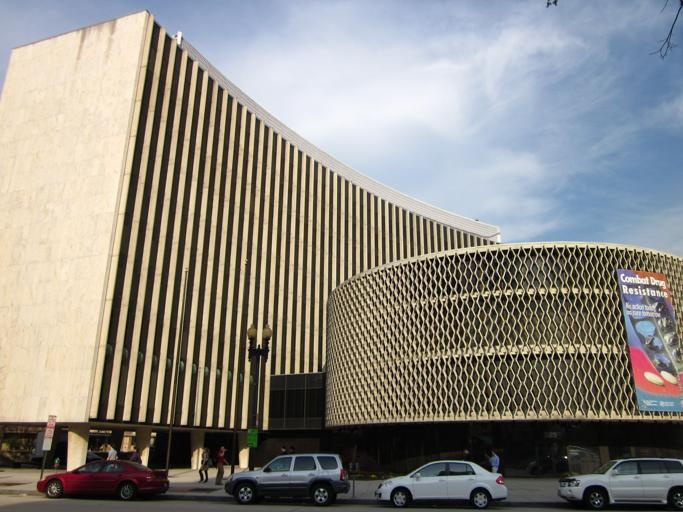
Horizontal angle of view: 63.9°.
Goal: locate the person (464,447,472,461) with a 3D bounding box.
[{"bbox_3d":[8.566,13.387,37.022,0.260,0.752,0.566,15,-24,-42],"label":"person"}]
